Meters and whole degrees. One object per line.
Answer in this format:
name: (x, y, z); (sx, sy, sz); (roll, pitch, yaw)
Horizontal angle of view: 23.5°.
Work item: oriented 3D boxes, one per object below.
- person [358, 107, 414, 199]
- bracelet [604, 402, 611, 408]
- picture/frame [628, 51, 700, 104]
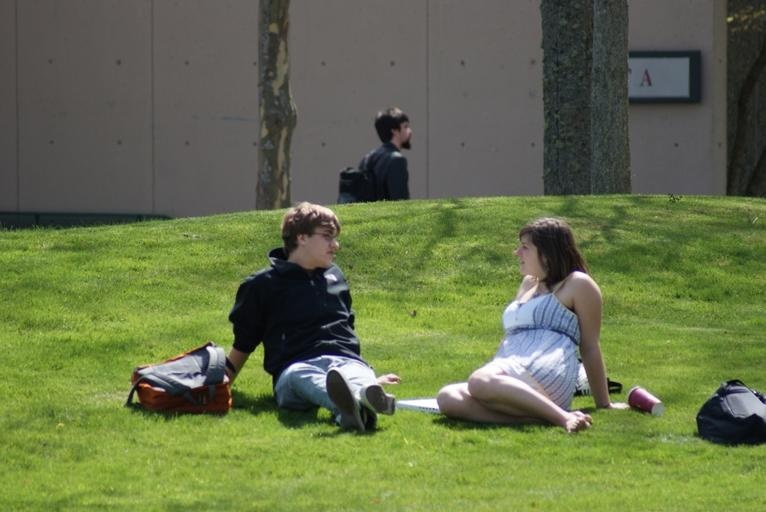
person: (0.072, -1.827, 31.183); (0.741, 1.526, 0.898); (1, 2, -20)
bracelet: (3.177, 2.009, 26.087); (0.041, 0.050, 0.111); (1, -20, -5)
picture/frame: (5.660, -3.761, 37.131); (1.506, 1.081, 0.176); (2, 2, -5)
